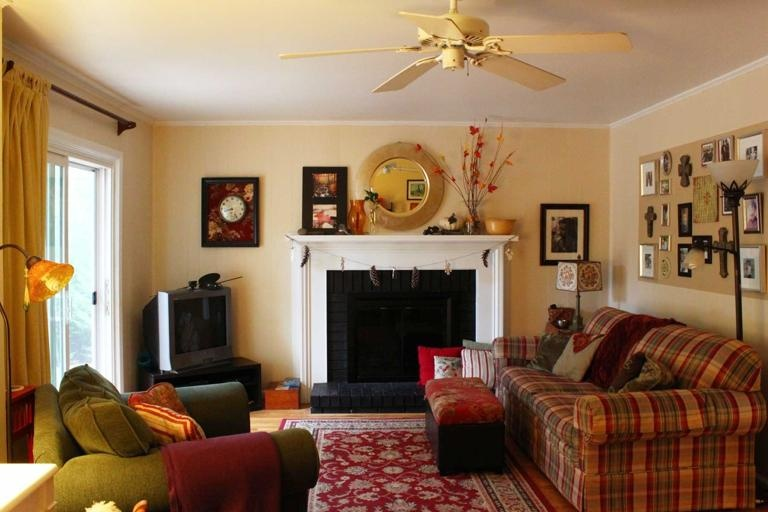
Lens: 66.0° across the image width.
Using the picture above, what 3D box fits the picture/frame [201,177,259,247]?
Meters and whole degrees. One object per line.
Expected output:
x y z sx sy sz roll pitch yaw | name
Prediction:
-1.651 -0.487 6.284 0.789 0.877 0.075 0 1 -2 | picture/frame

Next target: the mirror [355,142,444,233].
0.123 -0.740 6.310 1.011 0.948 0.100 -1 2 -3 | mirror

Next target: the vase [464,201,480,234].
0.898 -0.393 6.349 0.179 0.394 0.172 -3 9 9 | vase

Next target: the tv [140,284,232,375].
-2.100 0.770 6.066 0.740 0.792 0.841 -3 -1 25 | tv

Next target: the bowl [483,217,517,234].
1.197 -0.311 6.260 0.309 0.180 0.207 3 10 19 | bowl

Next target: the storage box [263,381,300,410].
-1.046 1.458 6.129 0.273 0.159 0.265 0 -2 -1 | storage box

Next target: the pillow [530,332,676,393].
1.718 0.840 5.088 0.660 0.471 0.194 1 -30 45 | pillow

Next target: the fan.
0.656 -1.347 3.654 1.320 0.554 0.837 -2 10 -9 | fan

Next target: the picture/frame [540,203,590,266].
1.916 -0.249 6.388 0.713 0.909 0.088 0 2 -4 | picture/frame

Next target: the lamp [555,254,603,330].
1.972 0.378 6.100 0.419 0.711 0.474 -2 10 -11 | lamp

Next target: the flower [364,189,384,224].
-0.112 -0.529 6.281 0.191 0.375 0.121 -1 10 -4 | flower

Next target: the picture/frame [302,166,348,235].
-0.637 -0.603 6.300 0.494 0.694 0.183 -2 10 -7 | picture/frame

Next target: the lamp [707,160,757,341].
2.681 -0.059 4.662 0.334 1.372 0.570 6 11 31 | lamp

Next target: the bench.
0.658 1.408 5.144 0.609 0.524 1.062 -1 2 1 | bench

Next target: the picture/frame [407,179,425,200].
0.342 -0.719 6.328 0.239 0.225 0.017 0 0 -4 | picture/frame

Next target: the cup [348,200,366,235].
-0.295 -0.414 6.259 0.177 0.348 0.101 -2 10 -7 | cup
